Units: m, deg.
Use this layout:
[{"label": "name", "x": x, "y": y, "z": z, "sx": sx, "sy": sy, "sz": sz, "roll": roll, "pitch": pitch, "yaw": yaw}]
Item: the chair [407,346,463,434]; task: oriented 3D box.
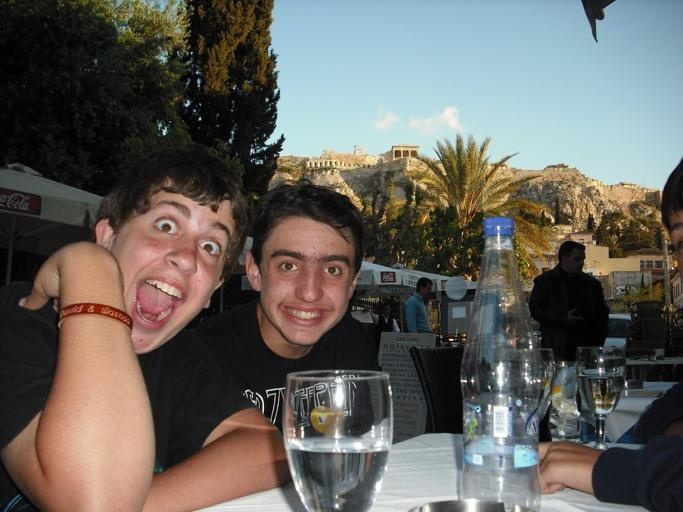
[{"label": "chair", "x": 0.563, "y": 0.792, "z": 3.637, "sx": 0.313, "sy": 0.501, "sz": 0.318, "roll": 2, "pitch": -4, "yaw": 1}]
